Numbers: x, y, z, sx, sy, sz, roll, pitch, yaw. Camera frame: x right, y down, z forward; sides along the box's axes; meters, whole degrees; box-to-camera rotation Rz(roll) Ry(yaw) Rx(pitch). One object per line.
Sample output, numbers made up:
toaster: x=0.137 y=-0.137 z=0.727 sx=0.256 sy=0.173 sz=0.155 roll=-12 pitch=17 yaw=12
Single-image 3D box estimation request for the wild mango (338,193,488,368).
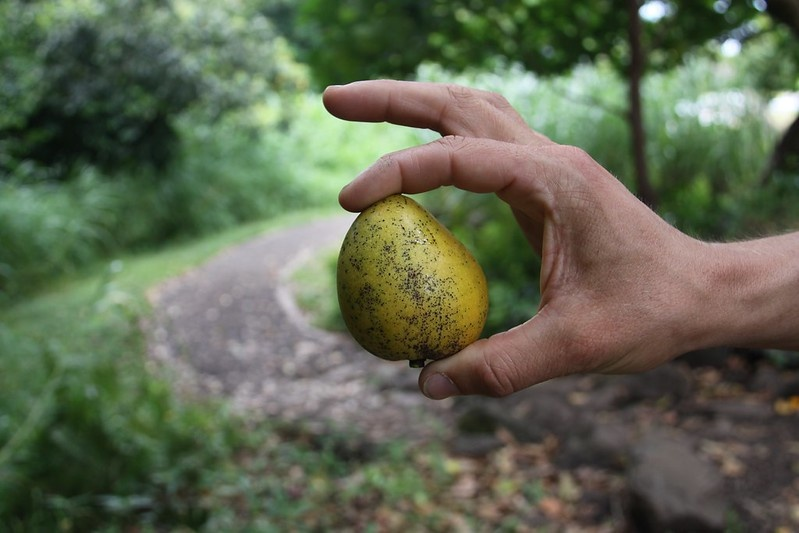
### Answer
wild mango: x=0.014 y=0.108 z=3.397 sx=0.503 sy=0.453 sz=0.663 roll=-28 pitch=89 yaw=-17
